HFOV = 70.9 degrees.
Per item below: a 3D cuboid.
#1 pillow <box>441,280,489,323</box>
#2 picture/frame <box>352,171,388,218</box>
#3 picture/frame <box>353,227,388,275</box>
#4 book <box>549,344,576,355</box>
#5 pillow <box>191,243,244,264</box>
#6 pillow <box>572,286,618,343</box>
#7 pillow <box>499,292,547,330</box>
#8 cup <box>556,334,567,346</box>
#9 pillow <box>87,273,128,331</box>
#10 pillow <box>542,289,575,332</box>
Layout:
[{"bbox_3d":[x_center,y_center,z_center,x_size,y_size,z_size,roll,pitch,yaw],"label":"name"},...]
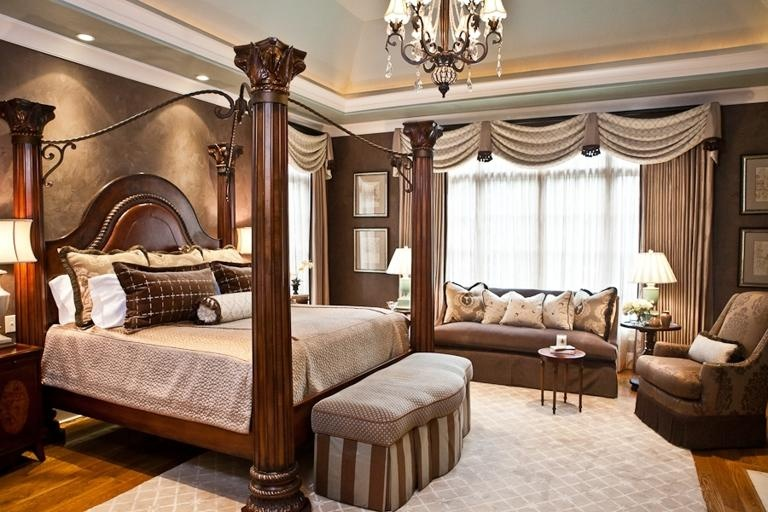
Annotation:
[{"bbox_3d":[1.097,0.642,7.575,0.851,0.773,0.450,0,0,10],"label":"pillow"},{"bbox_3d":[-0.196,-0.985,8.544,0.750,0.911,0.070,0,-1,23],"label":"picture/frame"},{"bbox_3d":[-0.198,-0.099,8.574,0.760,0.932,0.071,0,0,24],"label":"picture/frame"},{"bbox_3d":[1.997,1.046,6.019,0.280,0.072,0.270,2,13,5],"label":"book"},{"bbox_3d":[-1.948,-0.011,6.414,0.252,0.095,0.320,29,14,31],"label":"pillow"},{"bbox_3d":[2.655,0.760,6.788,0.286,0.513,0.594,-14,-1,-39],"label":"pillow"},{"bbox_3d":[1.847,0.706,7.251,0.732,0.627,0.379,0,-4,28],"label":"pillow"},{"bbox_3d":[2.006,0.952,6.152,0.120,0.121,0.123,-1,-4,0],"label":"cup"},{"bbox_3d":[-2.599,0.451,5.078,0.194,0.502,0.465,-26,-11,33],"label":"pillow"},{"bbox_3d":[2.250,0.698,6.953,0.451,0.453,0.178,-4,-19,36],"label":"pillow"}]
